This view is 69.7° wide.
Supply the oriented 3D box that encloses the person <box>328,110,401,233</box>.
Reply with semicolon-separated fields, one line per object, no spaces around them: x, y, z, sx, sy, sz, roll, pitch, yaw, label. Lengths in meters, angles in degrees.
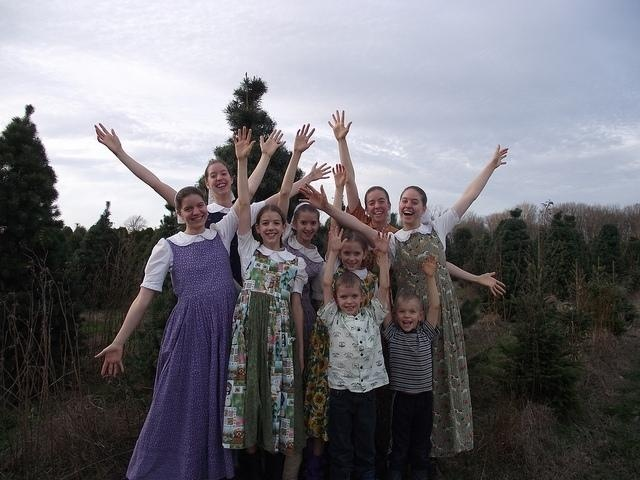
0.486;-0.617;5.262;0.625;1.784;0.420;-11;-11;13;person
